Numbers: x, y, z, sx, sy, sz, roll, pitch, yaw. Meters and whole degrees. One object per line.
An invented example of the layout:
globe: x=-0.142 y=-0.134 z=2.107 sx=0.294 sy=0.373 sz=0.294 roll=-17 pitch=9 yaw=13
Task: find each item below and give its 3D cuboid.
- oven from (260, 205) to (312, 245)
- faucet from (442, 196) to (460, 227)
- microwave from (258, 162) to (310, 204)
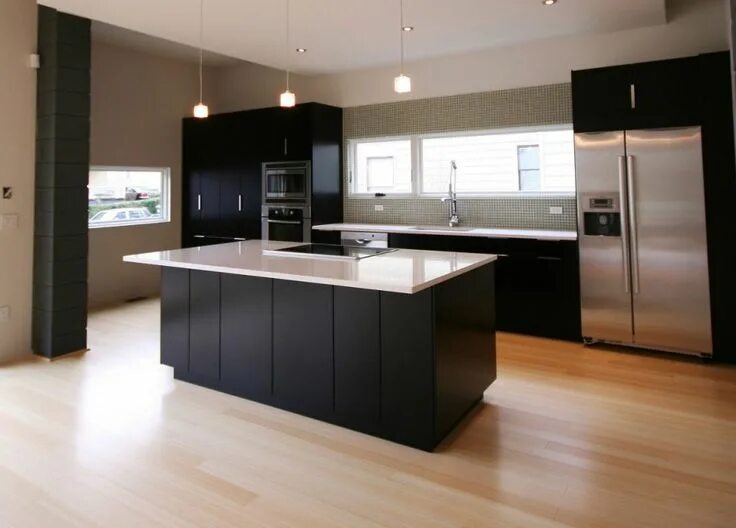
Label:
oven: x=-1.040 y=-0.524 z=7.217 sx=0.727 sy=0.682 sz=0.477 roll=2 pitch=2 yaw=28
faucet: x=1.024 y=-0.650 z=6.671 sx=0.167 sy=0.343 sz=0.296 roll=-2 pitch=11 yaw=-8
microwave: x=-1.011 y=-1.062 z=7.156 sx=0.740 sy=0.549 sz=0.377 roll=3 pitch=6 yaw=25
